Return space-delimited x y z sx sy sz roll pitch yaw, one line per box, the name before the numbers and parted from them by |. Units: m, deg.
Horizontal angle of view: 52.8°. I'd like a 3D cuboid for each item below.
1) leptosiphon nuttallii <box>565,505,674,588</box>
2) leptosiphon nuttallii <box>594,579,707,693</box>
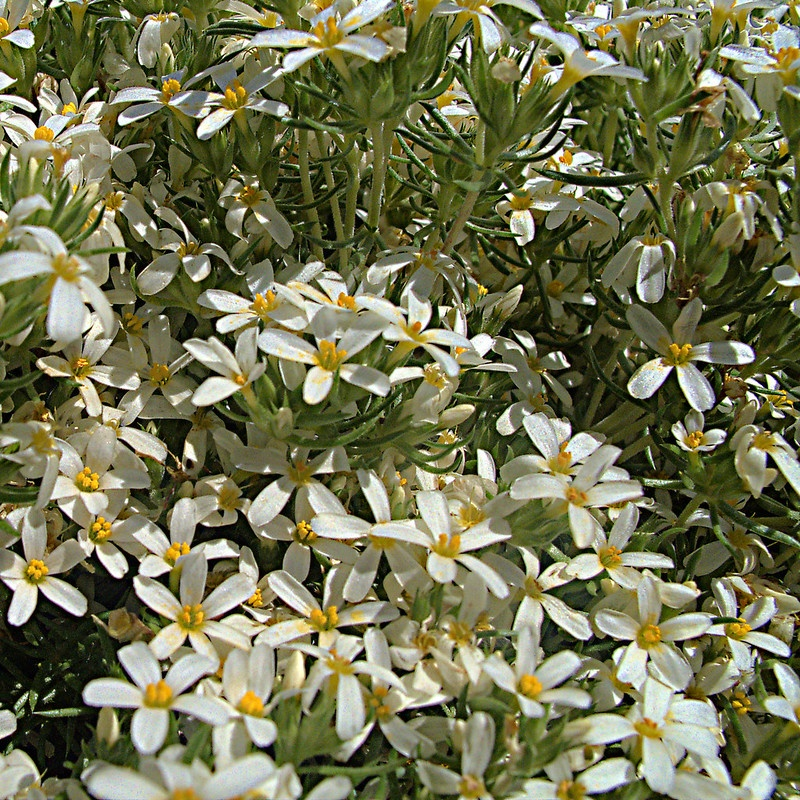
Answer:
leptosiphon nuttallii | 0.446 0.302 1.610 0.158 0.065 0.179 17 64 17
leptosiphon nuttallii | 0.489 0.444 1.546 0.194 0.054 0.208 -22 86 11
